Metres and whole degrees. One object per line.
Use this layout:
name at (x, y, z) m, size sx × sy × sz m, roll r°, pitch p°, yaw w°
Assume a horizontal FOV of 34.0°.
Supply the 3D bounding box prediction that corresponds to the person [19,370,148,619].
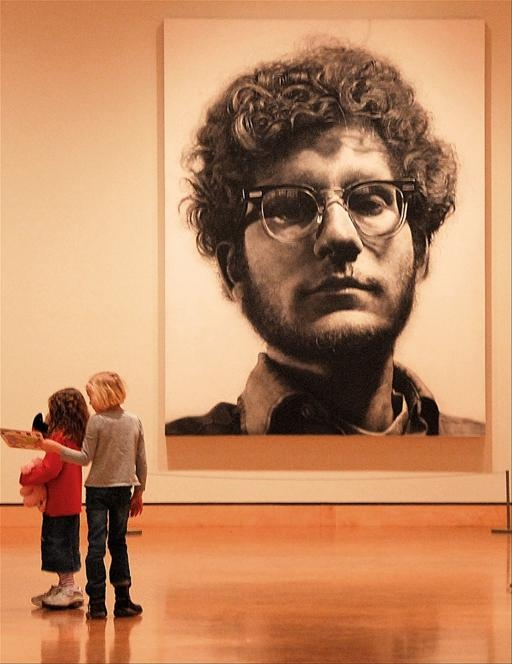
person at (-0.877, 0.905, 4.721) m, size 0.480 × 1.361 × 0.235 m, roll 2°, pitch -5°, yaw -16°

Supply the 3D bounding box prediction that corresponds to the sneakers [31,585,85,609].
sneakers at (-1.145, 1.558, 4.939) m, size 0.311 × 0.155 × 0.126 m, roll -1°, pitch -32°, yaw 4°

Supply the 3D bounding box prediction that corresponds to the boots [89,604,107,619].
boots at (-0.878, 1.535, 4.670) m, size 0.073 × 0.070 × 0.081 m, roll 1°, pitch -5°, yaw 5°
